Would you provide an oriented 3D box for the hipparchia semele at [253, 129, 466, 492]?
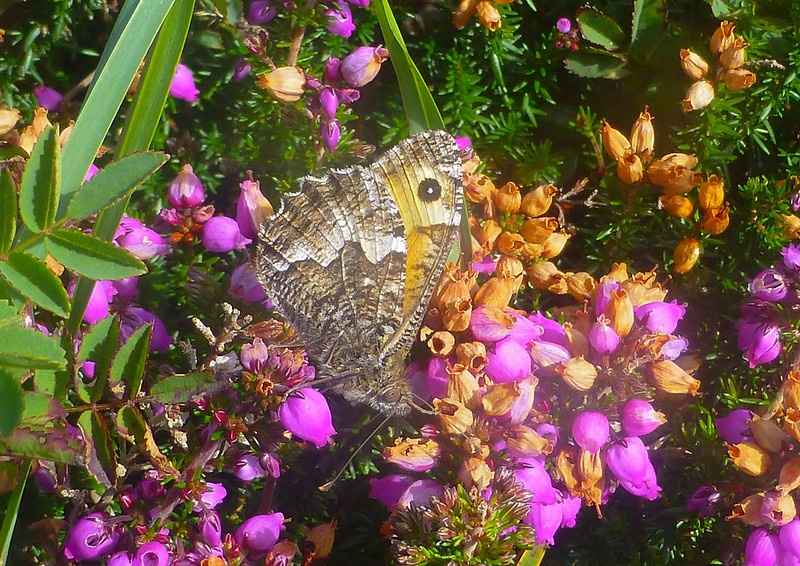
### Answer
[{"bbox_3d":[-0.109,0.112,2.523,0.462,0.797,0.533,18,-69,-10],"label":"hipparchia semele"}]
